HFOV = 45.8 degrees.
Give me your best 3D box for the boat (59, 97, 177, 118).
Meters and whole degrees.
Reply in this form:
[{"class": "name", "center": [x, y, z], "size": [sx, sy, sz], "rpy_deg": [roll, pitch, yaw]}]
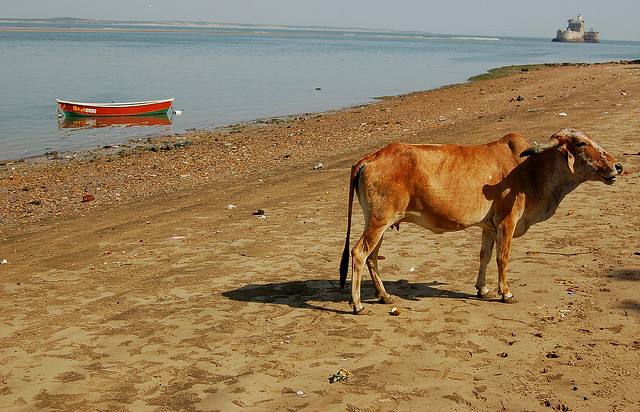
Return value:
[{"class": "boat", "center": [-10.007, -4.871, 37.394], "size": [7.446, 0.831, 1.512], "rpy_deg": [-3, 13, -14]}]
